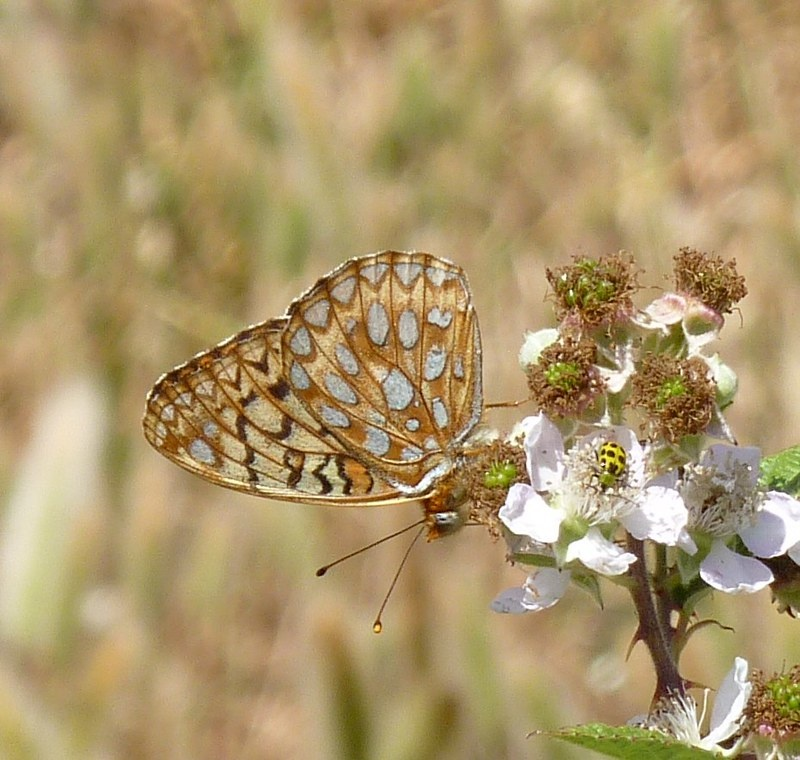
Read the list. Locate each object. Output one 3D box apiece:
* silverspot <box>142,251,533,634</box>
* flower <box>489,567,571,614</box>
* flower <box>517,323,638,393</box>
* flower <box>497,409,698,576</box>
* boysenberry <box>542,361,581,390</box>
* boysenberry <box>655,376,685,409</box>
[{"bbox_3d":[-0.217,0.053,4.308,0.963,0.952,0.224,-3,1,13],"label":"silverspot"},{"bbox_3d":[0.332,0.518,3.761,0.127,0.149,0.184,3,-4,42],"label":"flower"},{"bbox_3d":[0.429,-0.062,3.732,0.193,0.198,0.177,-4,12,-2],"label":"flower"},{"bbox_3d":[0.457,0.263,3.681,0.328,0.441,0.476,0,12,4],"label":"flower"},{"bbox_3d":[0.378,-0.018,3.606,0.072,0.060,0.027,8,-7,20],"label":"boysenberry"},{"bbox_3d":[0.633,0.025,3.570,0.065,0.057,0.028,-3,1,8],"label":"boysenberry"}]
